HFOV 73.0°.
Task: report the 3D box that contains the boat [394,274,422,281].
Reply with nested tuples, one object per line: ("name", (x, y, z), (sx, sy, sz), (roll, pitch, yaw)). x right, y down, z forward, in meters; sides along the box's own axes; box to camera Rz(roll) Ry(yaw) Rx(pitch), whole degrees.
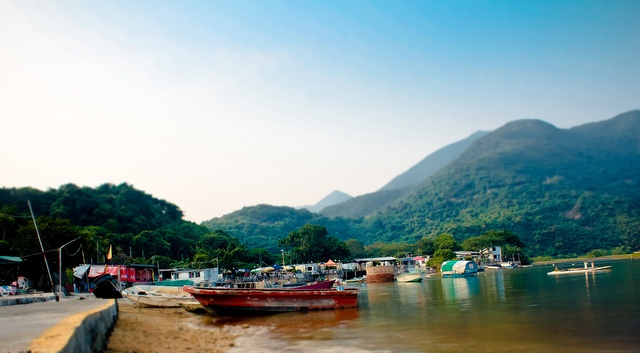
("boat", (20.960, 23.824, 101.949), (1.700, 1.904, 6.090), (9, -17, -39))

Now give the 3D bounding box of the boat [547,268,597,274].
("boat", (57.864, 21.687, 99.297), (6.303, 1.241, 16.144), (-15, -18, 43))

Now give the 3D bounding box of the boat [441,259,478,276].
("boat", (36.182, 24.217, 114.627), (5.184, 3.258, 7.405), (10, -12, -39))
